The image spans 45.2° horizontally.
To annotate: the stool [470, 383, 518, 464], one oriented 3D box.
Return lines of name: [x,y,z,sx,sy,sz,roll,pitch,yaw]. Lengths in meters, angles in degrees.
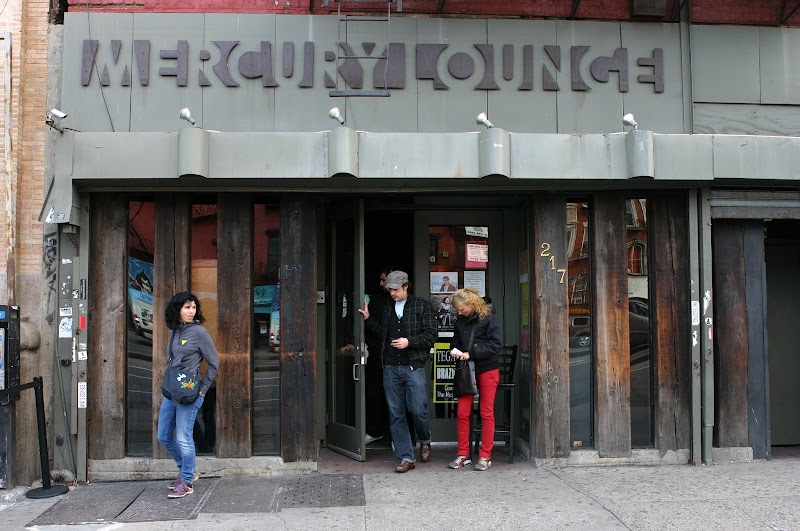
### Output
stool: [1.330,2.186,13.588,0.569,1.104,0.662,5,-5,-7]

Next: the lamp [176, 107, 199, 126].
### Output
lamp: [-2.822,-1.977,12.793,0.250,0.119,0.202,20,16,26]

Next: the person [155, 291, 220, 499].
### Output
person: [-2.711,1.651,12.291,0.761,2.612,0.461,-1,-1,-6]

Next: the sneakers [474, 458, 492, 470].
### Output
sneakers: [1.121,2.690,13.029,0.264,0.181,0.114,-1,-1,-30]

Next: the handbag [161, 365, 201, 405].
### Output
handbag: [-2.828,1.499,12.331,0.608,0.499,0.385,7,3,34]

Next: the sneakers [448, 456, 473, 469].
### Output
sneakers: [0.808,2.712,13.202,0.366,0.171,0.130,7,-10,-41]

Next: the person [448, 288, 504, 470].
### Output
person: [1.003,1.552,13.177,0.733,2.456,0.643,-1,-1,3]

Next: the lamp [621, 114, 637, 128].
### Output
lamp: [3.079,-1.960,13.065,0.130,0.116,0.154,-2,-43,-15]

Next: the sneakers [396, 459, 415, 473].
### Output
sneakers: [0.061,2.731,13.037,0.110,0.147,0.315,-6,-14,28]

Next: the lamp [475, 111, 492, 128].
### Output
lamp: [1.135,-2.003,12.943,0.227,0.189,0.217,13,-26,-5]

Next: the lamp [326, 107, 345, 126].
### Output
lamp: [-0.853,-2.031,12.928,0.241,0.254,0.302,-1,-1,-3]

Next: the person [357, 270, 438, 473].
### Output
person: [0.059,1.433,13.210,0.878,2.709,0.507,-1,-1,-2]

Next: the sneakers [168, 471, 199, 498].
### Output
sneakers: [-2.785,2.854,12.372,0.182,0.194,0.449,6,-4,22]
